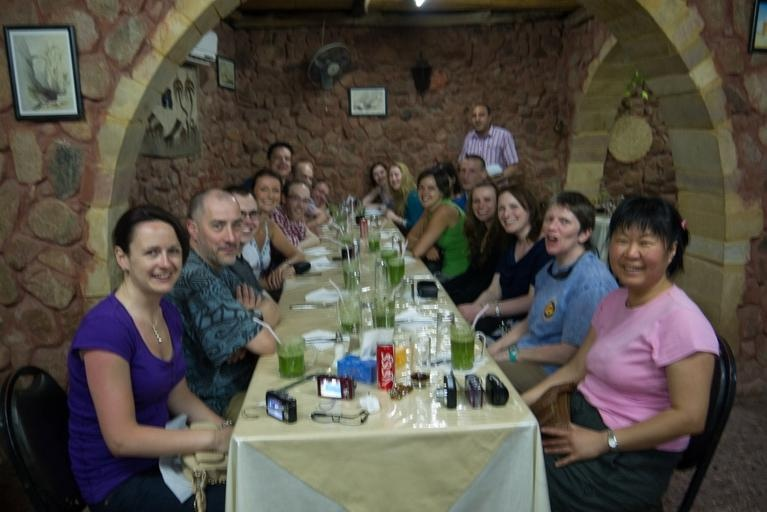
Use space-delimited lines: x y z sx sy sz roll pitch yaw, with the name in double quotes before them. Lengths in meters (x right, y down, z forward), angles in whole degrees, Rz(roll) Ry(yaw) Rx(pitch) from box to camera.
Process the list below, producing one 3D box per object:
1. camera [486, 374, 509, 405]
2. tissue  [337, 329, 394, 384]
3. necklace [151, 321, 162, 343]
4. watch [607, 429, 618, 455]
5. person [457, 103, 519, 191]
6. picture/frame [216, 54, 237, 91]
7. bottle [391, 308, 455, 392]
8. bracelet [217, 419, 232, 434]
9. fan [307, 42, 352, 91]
"camera" 0.480 0.556 2.233 0.080 0.113 0.145 -3 13 -3
"tissue " -0.085 0.449 2.306 0.215 0.251 0.239 0 8 -4
"necklace" -0.993 0.336 2.294 0.025 0.104 0.027 -10 -14 -28
"watch" 0.973 0.787 2.221 0.034 0.070 0.067 -12 -17 21
"person" 1.296 -1.338 6.846 0.810 1.258 0.631 7 26 33
"picture/frame" -2.008 -2.365 6.730 0.030 0.436 0.658 -10 26 -34
"bottle" 0.152 0.459 2.572 0.190 0.398 0.364 0 7 -3
"bracelet" -0.704 0.763 2.343 0.071 0.020 0.074 -1 12 -14
"fan" -0.734 -2.579 7.111 0.578 0.567 0.434 -5 -1 16
